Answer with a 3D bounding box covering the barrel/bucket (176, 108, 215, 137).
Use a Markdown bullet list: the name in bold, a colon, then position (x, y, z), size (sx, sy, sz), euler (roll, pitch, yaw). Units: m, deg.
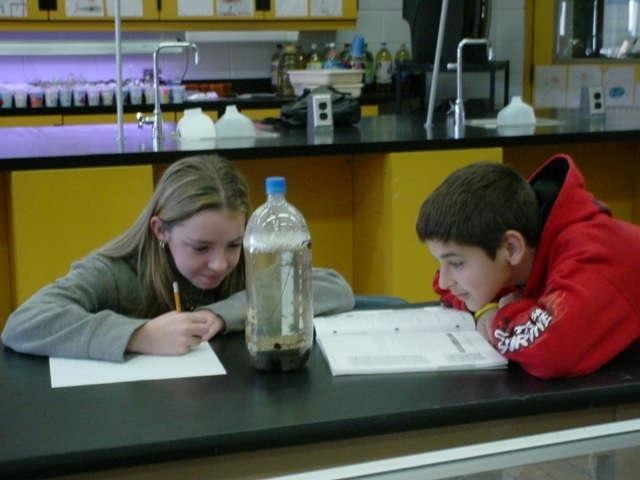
- **barrel/bucket**: position (-0.504, -0.468, 2.617), size (0.154, 0.119, 0.120), euler (-6, 15, -9)
